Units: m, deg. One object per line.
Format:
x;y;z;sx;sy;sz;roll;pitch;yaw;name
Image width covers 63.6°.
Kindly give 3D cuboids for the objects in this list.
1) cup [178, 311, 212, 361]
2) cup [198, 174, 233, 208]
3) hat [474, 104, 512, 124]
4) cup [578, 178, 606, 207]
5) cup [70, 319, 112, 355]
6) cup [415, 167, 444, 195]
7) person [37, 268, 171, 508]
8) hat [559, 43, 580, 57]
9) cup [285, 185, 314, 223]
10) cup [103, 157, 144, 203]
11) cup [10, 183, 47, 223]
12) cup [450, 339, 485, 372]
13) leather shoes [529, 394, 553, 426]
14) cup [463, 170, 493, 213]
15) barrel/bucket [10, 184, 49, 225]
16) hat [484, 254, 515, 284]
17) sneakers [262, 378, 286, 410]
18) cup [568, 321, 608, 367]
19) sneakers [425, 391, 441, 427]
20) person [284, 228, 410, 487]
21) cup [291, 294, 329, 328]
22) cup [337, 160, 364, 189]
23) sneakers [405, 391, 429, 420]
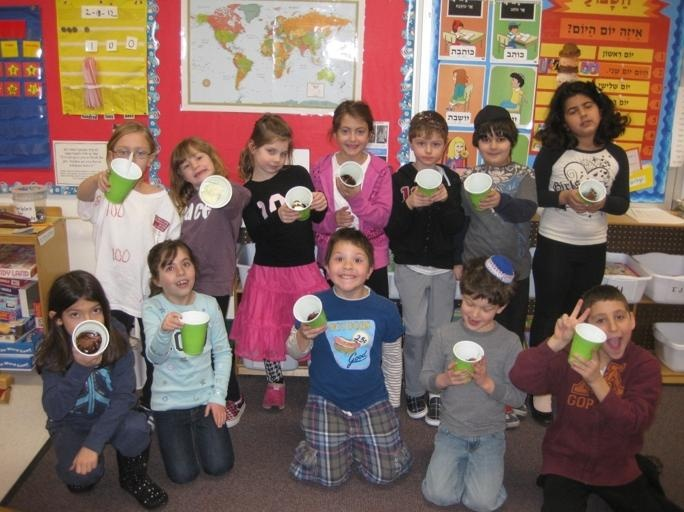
-0.636;0.361;2.503;0.184;0.182;0.178;3;9;0;cup
-0.633;-0.320;2.755;0.148;0.155;0.079;-2;16;0;cup
0.861;-0.822;3.179;0.145;0.058;0.140;-4;16;4;hat
1.339;-0.347;2.960;0.136;0.130;0.099;2;17;14;cup
-1.103;0.370;2.418;0.151;0.180;0.075;0;17;8;cup
0.461;-0.393;2.869;0.136;0.135;0.102;-13;-21;3;cup
-1.180;0.623;2.610;0.435;1.046;0.659;-12;19;-30;person
1.557;-1.405;3.756;0.145;0.089;0.036;-5;17;-12;hat
-0.217;-0.269;2.858;0.103;0.181;0.148;8;19;31;cup
-1.123;-0.389;2.820;0.189;0.221;0.115;-6;17;-15;cup
-2.134;-0.362;3.694;0.249;0.244;0.249;3;10;0;cup
0.583;0.449;2.562;0.137;0.102;0.135;2;30;-1;cup
1.151;0.884;3.185;0.071;0.073;0.187;-4;25;4;leather shoes
0.713;-0.341;2.910;0.140;0.204;0.107;1;17;12;cup
-2.115;-0.360;3.697;0.221;0.230;0.231;8;22;-4;barrel/bucket
0.791;0.059;2.748;0.116;0.079;0.150;-19;61;-36;hat
-0.405;0.824;3.272;0.099;0.071;0.179;0;13;-4;sneakers
1.034;0.362;2.336;0.118;0.113;0.161;22;15;-26;cup
0.519;0.881;3.149;0.073;0.076;0.193;0;13;5;sneakers
0.031;0.513;2.856;0.691;1.258;0.645;0;3;-6;person
-0.160;0.247;2.576;0.140;0.155;0.132;-2;16;1;cup
0.040;-0.428;2.887;0.129;0.130;0.121;-2;16;1;cup
0.441;0.880;3.194;0.068;0.077;0.197;-1;1;-5;sneakers
